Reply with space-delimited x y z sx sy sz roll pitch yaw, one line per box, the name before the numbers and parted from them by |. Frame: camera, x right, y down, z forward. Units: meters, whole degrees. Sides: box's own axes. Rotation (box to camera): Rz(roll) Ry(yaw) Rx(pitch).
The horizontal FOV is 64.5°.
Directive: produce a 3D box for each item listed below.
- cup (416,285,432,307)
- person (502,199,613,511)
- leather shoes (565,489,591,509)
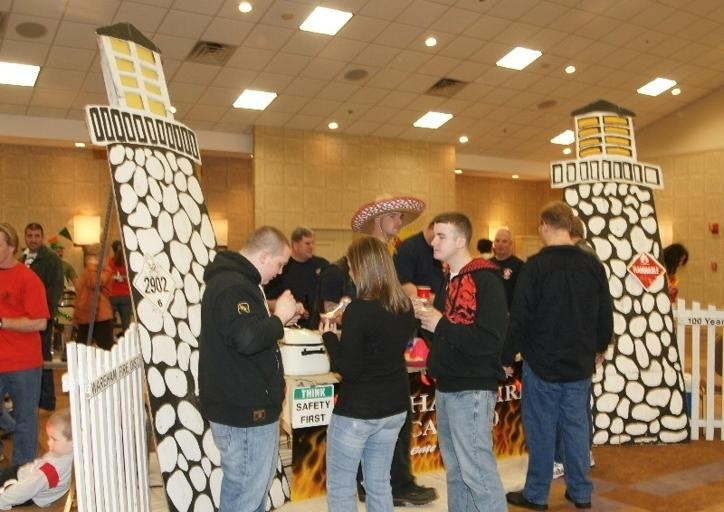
cup | 0.435 0.275 3.921 0.130 0.144 0.128 -1 0 0
person | 1.490 0.921 4.392 0.836 2.004 0.342 2 5 5
leather shoes | 1.678 1.887 4.471 0.079 0.093 0.218 -1 -3 -16
